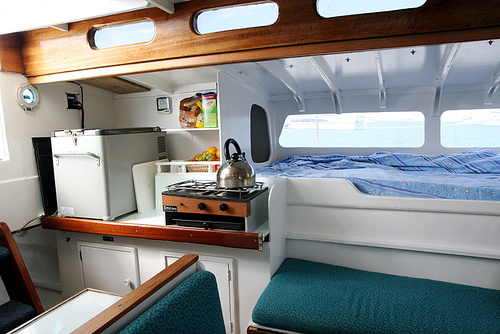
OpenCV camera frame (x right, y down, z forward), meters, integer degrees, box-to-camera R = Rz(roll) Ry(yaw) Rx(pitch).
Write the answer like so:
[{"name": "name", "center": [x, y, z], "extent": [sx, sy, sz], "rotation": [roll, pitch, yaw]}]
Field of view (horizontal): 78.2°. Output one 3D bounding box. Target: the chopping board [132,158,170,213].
[{"name": "chopping board", "center": [-0.950, 0.188, 2.902], "extent": [0.079, 0.528, 0.562], "rotation": [0, -3, 29]}]

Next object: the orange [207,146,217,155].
[{"name": "orange", "center": [-0.376, -0.163, 3.029], "extent": [0.087, 0.075, 0.091], "rotation": [-8, 26, 9]}]

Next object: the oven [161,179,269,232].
[{"name": "oven", "center": [-0.305, 0.318, 2.509], "extent": [0.717, 0.296, 0.456], "rotation": [2, 8, 19]}]

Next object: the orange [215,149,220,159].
[{"name": "orange", "center": [-0.324, -0.125, 2.999], "extent": [0.028, 0.071, 0.101], "rotation": [-4, 7, -17]}]

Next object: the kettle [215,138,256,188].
[{"name": "kettle", "center": [-0.126, -0.030, 2.522], "extent": [0.314, 0.396, 0.181], "rotation": [-2, 7, -1]}]

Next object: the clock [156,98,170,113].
[{"name": "clock", "center": [-0.930, -0.663, 3.272], "extent": [0.188, 0.173, 0.067], "rotation": [2, 6, 18]}]

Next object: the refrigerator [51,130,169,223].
[{"name": "refrigerator", "center": [-1.432, 0.029, 3.137], "extent": [0.806, 0.805, 1.196], "rotation": [4, 11, 24]}]
